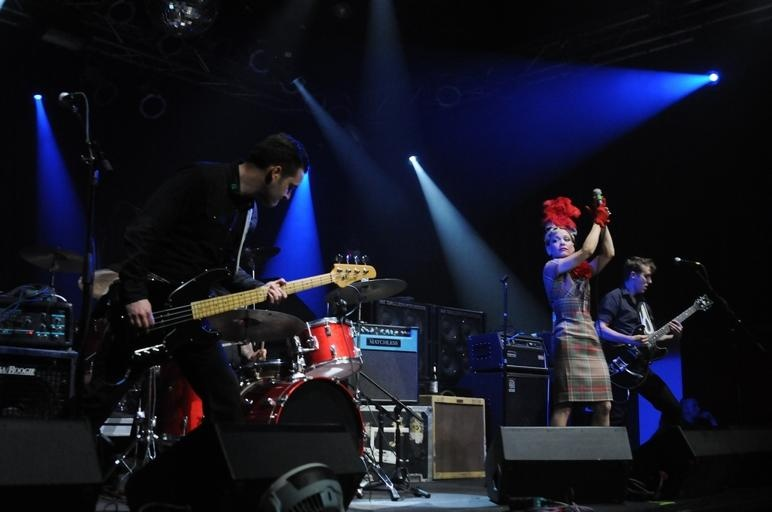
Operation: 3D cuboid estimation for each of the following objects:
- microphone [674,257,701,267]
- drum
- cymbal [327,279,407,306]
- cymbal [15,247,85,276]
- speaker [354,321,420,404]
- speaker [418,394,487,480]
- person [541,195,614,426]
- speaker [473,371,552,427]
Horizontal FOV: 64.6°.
[{"bbox_3d":[4.050,0.083,8.226,0.386,0.106,0.105,4,6,-16],"label":"microphone"},{"bbox_3d":[-0.622,1.037,6.577,0.691,0.443,0.704,-12,-33,-8],"label":"drum"},{"bbox_3d":[-0.193,0.400,6.879,0.466,0.118,0.495,-5,-18,16],"label":"cymbal"},{"bbox_3d":[-3.667,0.043,6.748,0.558,0.249,0.562,-4,-30,7],"label":"cymbal"},{"bbox_3d":[-0.014,1.350,7.540,0.841,0.811,0.460,11,-23,-33],"label":"speaker"},{"bbox_3d":[0.796,2.306,7.675,0.904,1.046,0.427,10,-21,-35],"label":"speaker"},{"bbox_3d":[1.924,0.504,6.176,0.687,2.379,0.786,-1,-7,20],"label":"person"},{"bbox_3d":[1.824,1.957,8.511,1.063,1.014,0.745,5,-15,-24],"label":"speaker"}]
